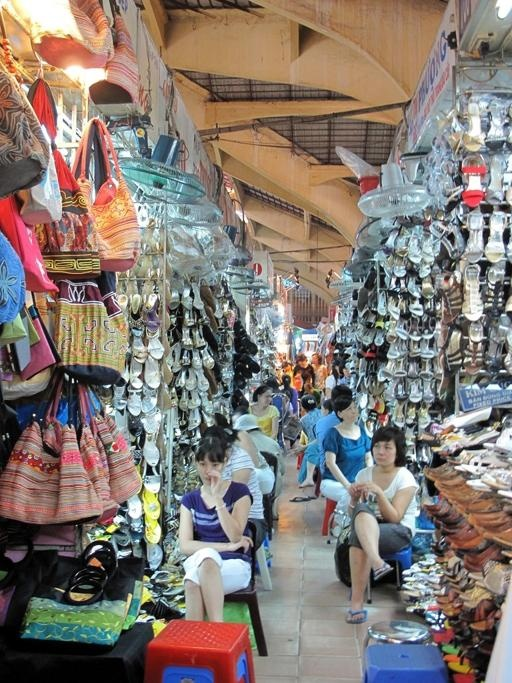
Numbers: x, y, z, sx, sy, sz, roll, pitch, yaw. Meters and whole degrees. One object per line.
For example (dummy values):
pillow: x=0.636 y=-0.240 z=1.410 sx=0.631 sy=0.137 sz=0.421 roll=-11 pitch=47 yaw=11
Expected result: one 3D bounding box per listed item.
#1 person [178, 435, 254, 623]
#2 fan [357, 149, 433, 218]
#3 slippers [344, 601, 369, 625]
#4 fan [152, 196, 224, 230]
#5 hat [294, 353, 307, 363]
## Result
person: x=-0.208 y=0.975 z=2.715 sx=0.384 sy=0.965 sz=0.616 roll=-2 pitch=-6 yaw=-3
fan: x=1.154 y=-1.310 z=4.579 sx=0.413 sy=0.284 sz=0.592 roll=-1 pitch=-5 yaw=5
slippers: x=0.622 y=1.686 z=3.324 sx=0.134 sy=0.093 sz=0.139 roll=-3 pitch=-6 yaw=12
fan: x=-0.487 y=-1.052 z=4.437 sx=0.387 sy=0.140 sz=0.283 roll=-3 pitch=-4 yaw=35
hat: x=1.356 y=0.545 z=16.194 sx=0.267 sy=0.343 sz=0.329 roll=-2 pitch=8 yaw=5
